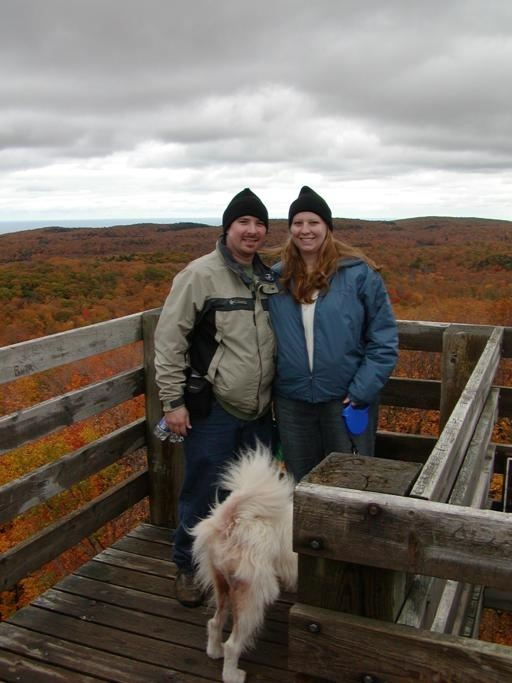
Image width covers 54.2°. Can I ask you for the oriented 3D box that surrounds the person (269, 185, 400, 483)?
[{"bbox_3d":[0.385,-0.042,2.527,0.627,1.509,0.409,0,9,7],"label":"person"}]

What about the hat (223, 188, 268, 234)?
[{"bbox_3d":[-0.036,-0.666,2.551,0.243,0.207,0.258,-4,1,1],"label":"hat"}]

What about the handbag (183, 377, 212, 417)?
[{"bbox_3d":[-0.270,0.263,2.347,0.136,0.224,0.060,-1,9,-4],"label":"handbag"}]

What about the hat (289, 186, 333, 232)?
[{"bbox_3d":[0.266,-0.743,2.646,0.167,0.144,0.216,2,4,18],"label":"hat"}]
